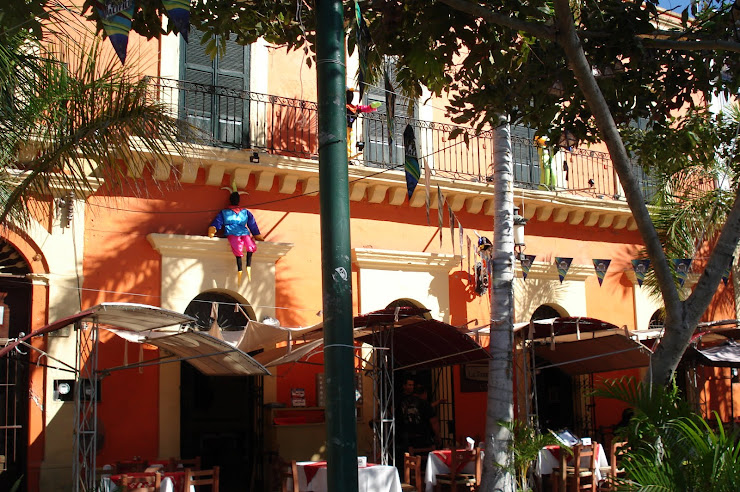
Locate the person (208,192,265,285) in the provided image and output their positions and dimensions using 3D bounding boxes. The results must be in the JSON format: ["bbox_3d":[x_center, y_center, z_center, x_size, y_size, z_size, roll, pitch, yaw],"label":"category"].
[{"bbox_3d":[-2.539,-0.198,19.391,1.094,2.003,0.452,1,-36,-16],"label":"person"}]

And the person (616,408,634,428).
[{"bbox_3d":[5.589,3.769,22.562,0.316,0.382,0.852,-2,-10,11],"label":"person"}]

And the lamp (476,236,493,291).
[{"bbox_3d":[2.366,0.377,21.377,0.320,1.234,0.689,1,-9,-9],"label":"lamp"}]
